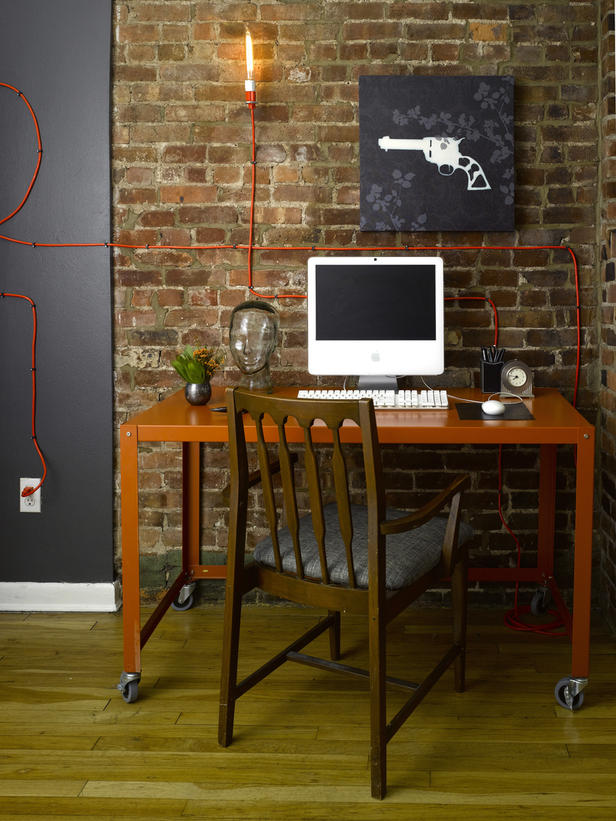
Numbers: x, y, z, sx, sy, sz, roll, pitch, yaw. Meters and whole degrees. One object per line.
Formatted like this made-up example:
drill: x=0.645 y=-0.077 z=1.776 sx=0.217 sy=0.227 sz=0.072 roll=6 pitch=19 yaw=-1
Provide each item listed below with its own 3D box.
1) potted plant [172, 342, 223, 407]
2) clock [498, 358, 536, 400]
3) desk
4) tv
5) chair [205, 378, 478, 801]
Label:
potted plant: x=-0.336 y=-0.104 z=2.372 sx=0.137 sy=0.160 sz=0.125 roll=10 pitch=16 yaw=44
clock: x=0.619 y=-0.087 z=2.385 sx=0.143 sy=0.164 sz=0.097 roll=-1 pitch=2 yaw=5
desk: x=0.166 y=0.162 z=2.388 sx=1.421 sy=0.816 sz=0.880 roll=0 pitch=5 yaw=4
tv: x=0.208 y=-0.283 z=2.412 sx=0.434 sy=0.407 sz=0.138 roll=0 pitch=2 yaw=0
chair: x=0.103 y=0.357 z=1.875 sx=0.505 sy=0.805 sz=0.554 roll=2 pitch=8 yaw=23
